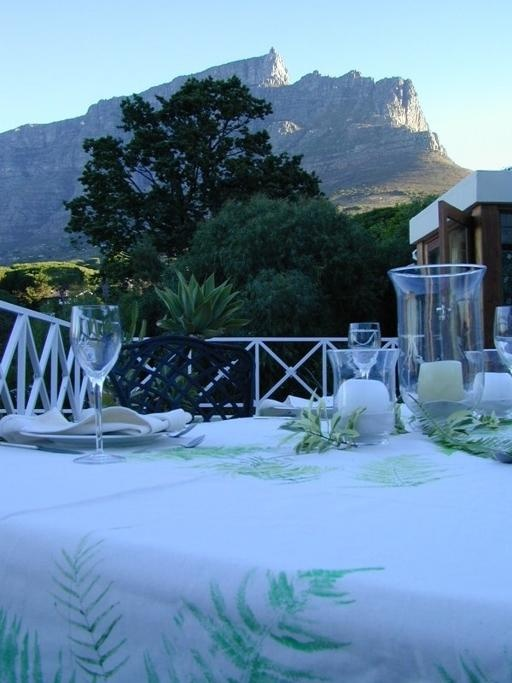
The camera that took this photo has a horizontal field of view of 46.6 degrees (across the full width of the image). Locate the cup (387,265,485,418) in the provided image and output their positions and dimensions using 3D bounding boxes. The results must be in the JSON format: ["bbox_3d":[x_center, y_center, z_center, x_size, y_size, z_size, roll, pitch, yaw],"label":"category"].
[{"bbox_3d":[0.232,-0.002,0.768,0.113,0.179,0.076,-1,0,25],"label":"cup"}]
